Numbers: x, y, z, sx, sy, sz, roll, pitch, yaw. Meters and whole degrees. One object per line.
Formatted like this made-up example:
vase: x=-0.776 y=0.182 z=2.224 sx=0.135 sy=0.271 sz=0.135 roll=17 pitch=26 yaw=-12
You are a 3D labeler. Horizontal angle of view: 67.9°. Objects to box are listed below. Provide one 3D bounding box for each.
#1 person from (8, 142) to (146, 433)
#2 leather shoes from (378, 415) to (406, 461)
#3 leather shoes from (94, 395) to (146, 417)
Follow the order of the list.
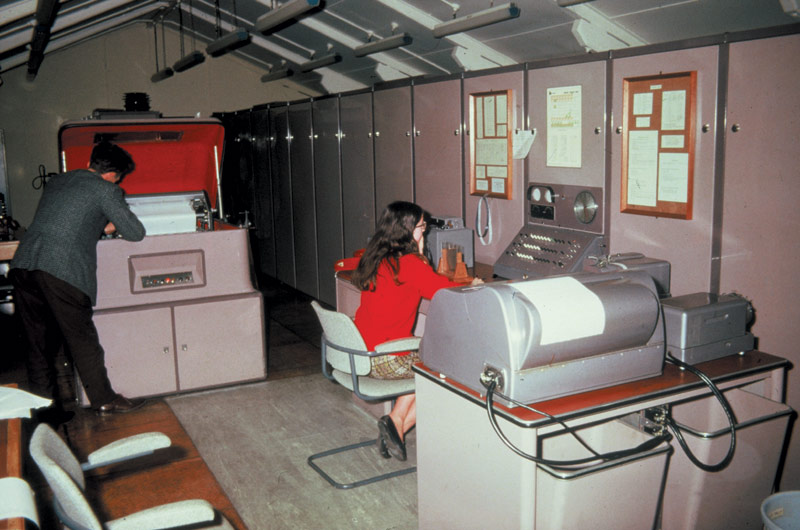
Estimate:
person: x=-2.410 y=0.105 z=4.477 sx=1.003 sy=2.039 sz=0.701 roll=-6 pitch=9 yaw=-11
leather shoes: x=-0.055 y=1.113 z=3.822 sx=0.110 sy=0.298 sz=0.167 roll=-6 pitch=-8 yaw=-44
leather shoes: x=-2.126 y=1.060 z=4.515 sx=0.353 sy=0.136 sz=0.132 roll=-6 pitch=14 yaw=-30
